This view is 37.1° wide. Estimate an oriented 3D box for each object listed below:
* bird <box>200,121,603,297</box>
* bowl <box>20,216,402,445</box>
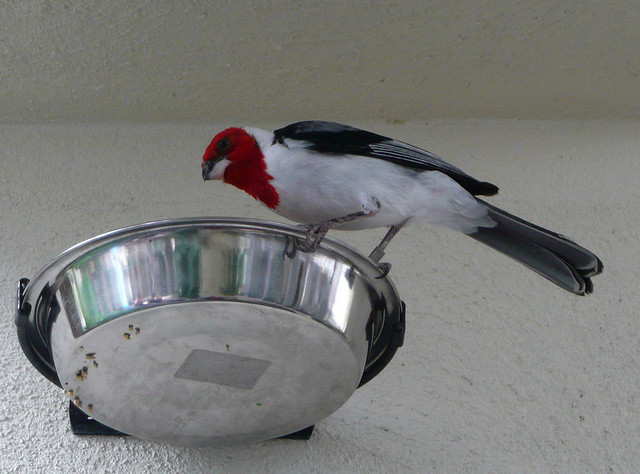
[{"bbox_3d":[0.182,-0.084,2.266,0.942,0.263,0.345,6,59,5],"label":"bird"},{"bbox_3d":[-0.383,0.179,1.909,0.768,0.173,0.718,-16,22,7],"label":"bowl"}]
